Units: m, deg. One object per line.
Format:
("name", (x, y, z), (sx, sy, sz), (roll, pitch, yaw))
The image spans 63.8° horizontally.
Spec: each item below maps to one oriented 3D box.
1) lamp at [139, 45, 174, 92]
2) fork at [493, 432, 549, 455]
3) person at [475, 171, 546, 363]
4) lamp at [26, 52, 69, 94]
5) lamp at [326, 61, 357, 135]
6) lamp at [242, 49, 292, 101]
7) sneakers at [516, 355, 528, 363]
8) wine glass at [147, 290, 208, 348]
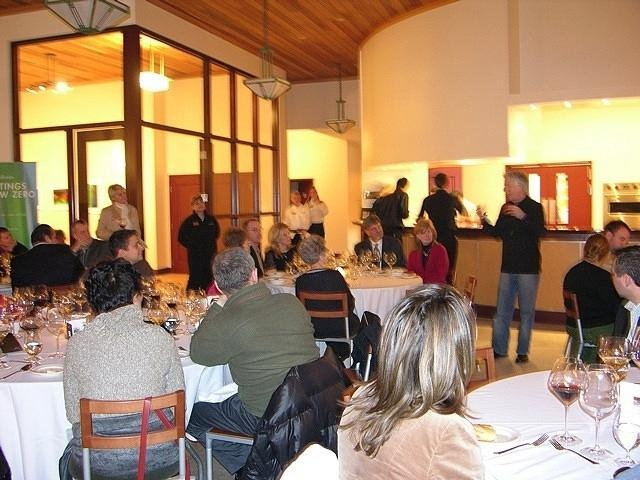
("lamp", (-2.298, -2.375, 7.218), (0.217, 0.632, 0.698), (-1, 3, 13))
("fork", (0.719, 0.737, 1.857), (0.167, 0.020, 0.021), (-15, 30, -3))
("person", (2.001, 0.288, 5.377), (0.624, 1.968, 0.439), (0, 4, 27))
("lamp", (-3.904, -2.360, 7.592), (0.565, 0.581, 0.557), (-1, 0, -6))
("lamp", (0.448, -2.893, 10.840), (0.599, 1.337, 1.217), (-2, 3, 2))
("lamp", (-0.696, -2.193, 6.780), (0.659, 0.660, 0.641), (-6, 9, -21))
("sneakers", (2.108, 1.235, 5.431), (0.125, 0.090, 0.065), (-8, 11, -16))
("wine glass", (-0.925, 0.503, 3.413), (0.314, 0.135, 0.385), (-1, 5, -41))
